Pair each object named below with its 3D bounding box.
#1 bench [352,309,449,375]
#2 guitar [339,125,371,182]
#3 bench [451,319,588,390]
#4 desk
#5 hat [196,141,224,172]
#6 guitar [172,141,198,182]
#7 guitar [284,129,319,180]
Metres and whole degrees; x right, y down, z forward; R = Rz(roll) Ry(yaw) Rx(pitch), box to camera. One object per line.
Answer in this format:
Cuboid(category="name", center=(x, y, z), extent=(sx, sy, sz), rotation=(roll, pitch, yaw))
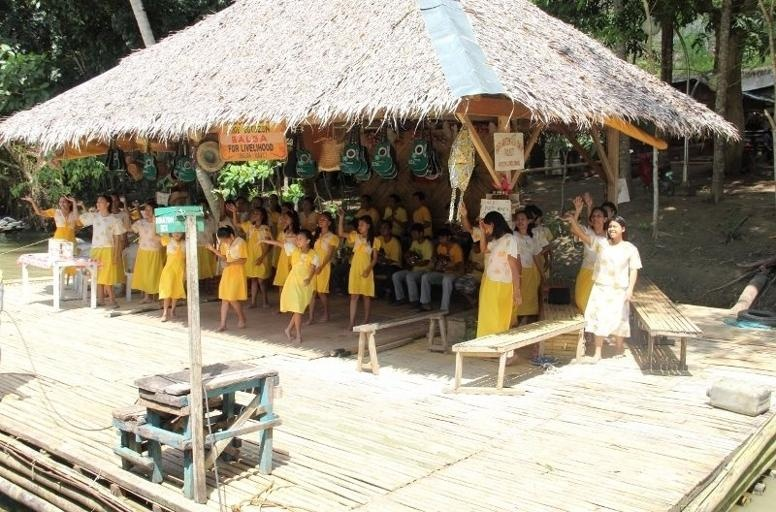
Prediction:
Cuboid(category="bench", center=(0.238, 1.186, 8.473), extent=(0.427, 0.584, 1.791), rotation=(-4, 1, 43))
Cuboid(category="guitar", center=(-0.562, -1.697, 10.079), extent=(0.493, 0.889, 1.066), rotation=(-4, 8, -2))
Cuboid(category="bench", center=(1.657, 1.237, 7.713), extent=(2.036, 0.622, 0.671), rotation=(-10, 11, -41))
Cuboid(category="desk", center=(-6.149, 0.355, 11.272), extent=(1.541, 0.688, 0.692), rotation=(1, 1, -35))
Cuboid(category="hat", center=(-3.273, -1.841, 11.184), extent=(0.575, 0.551, 0.274), rotation=(0, 10, 26))
Cuboid(category="guitar", center=(-3.927, -1.824, 11.719), extent=(0.582, 0.587, 0.635), rotation=(25, 34, 35))
Cuboid(category="guitar", center=(-1.559, -1.725, 10.479), extent=(0.518, 0.758, 0.986), rotation=(-5, 8, -9))
